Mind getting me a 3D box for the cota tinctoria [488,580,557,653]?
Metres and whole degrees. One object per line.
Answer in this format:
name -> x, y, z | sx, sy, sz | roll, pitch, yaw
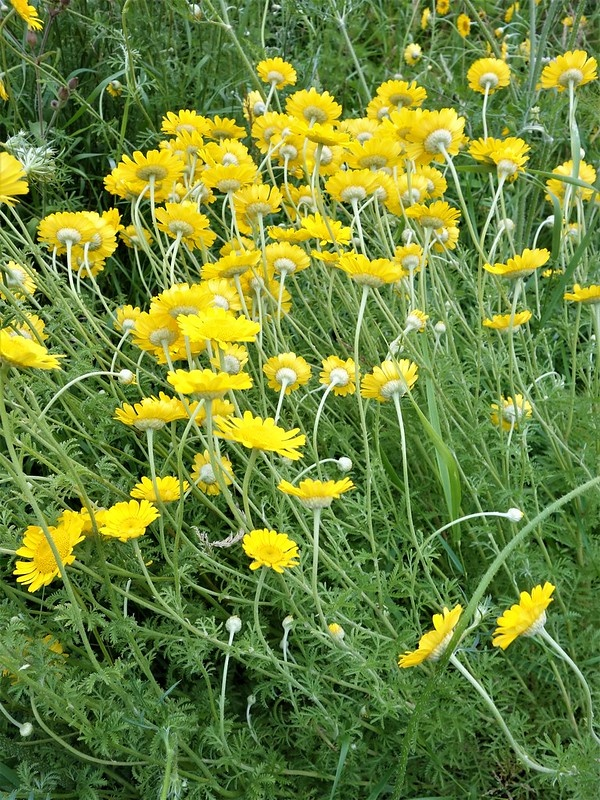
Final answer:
cota tinctoria -> 0.341, 0.328, 1.286 | 0.052, 0.145, 0.138 | 43, 90, 13
